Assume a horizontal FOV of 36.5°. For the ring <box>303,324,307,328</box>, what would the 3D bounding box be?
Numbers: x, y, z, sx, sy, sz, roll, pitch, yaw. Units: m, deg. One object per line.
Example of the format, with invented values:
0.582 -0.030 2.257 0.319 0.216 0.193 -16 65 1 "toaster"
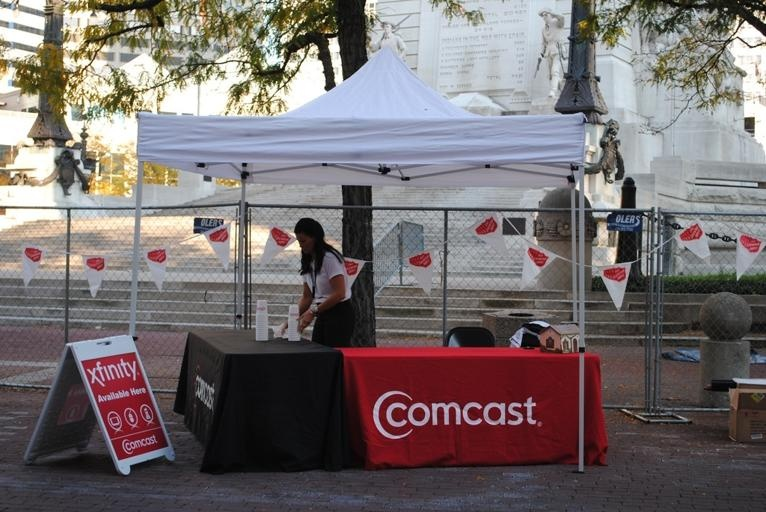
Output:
-1.495 1.332 22.127 0.015 0.058 0.058 11 10 40 "ring"
